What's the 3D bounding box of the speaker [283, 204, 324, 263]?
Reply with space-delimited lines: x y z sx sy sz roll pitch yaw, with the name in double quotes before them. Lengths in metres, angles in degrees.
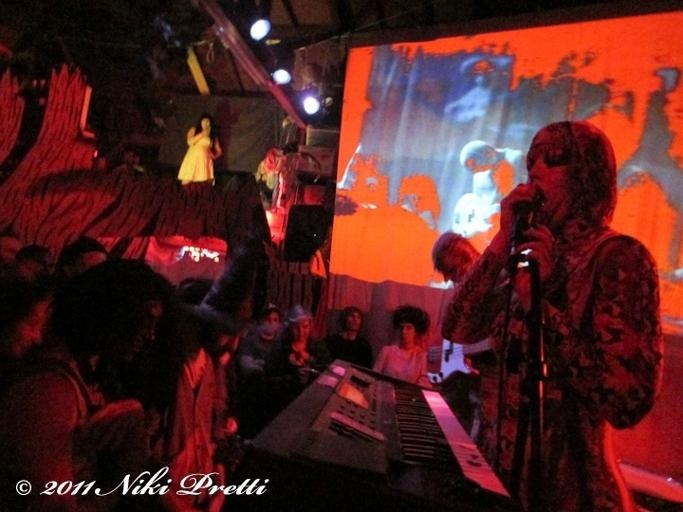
"speaker" -0.315 -0.196 4.461 0.376 0.596 0.154 3 -17 -2
